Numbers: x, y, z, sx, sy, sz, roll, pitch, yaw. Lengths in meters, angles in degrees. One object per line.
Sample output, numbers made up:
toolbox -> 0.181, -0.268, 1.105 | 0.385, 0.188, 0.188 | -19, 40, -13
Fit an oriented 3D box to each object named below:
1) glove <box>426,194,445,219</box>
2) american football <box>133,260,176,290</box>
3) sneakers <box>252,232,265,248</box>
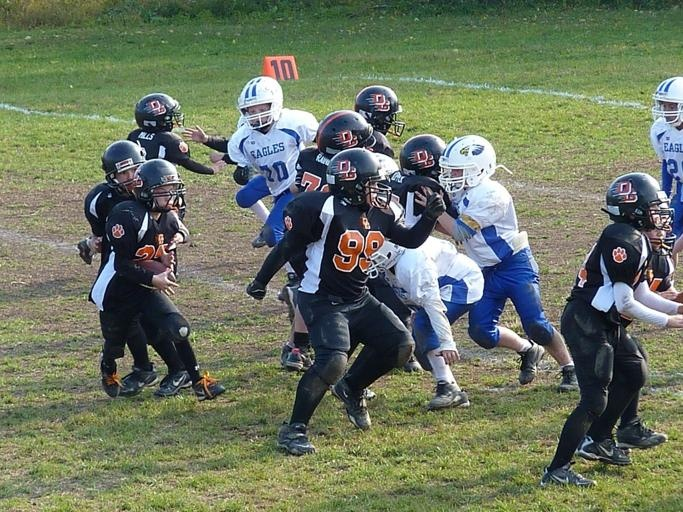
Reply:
glove -> 0.941, -0.496, 13.077 | 0.216, 0.236, 0.153 | 17, 38, 22
american football -> -1.902, 0.195, 13.802 | 0.400, 0.204, 0.302 | 22, 0, 26
sneakers -> -1.132, -0.204, 17.718 | 0.140, 0.147, 0.334 | 7, 15, -14
